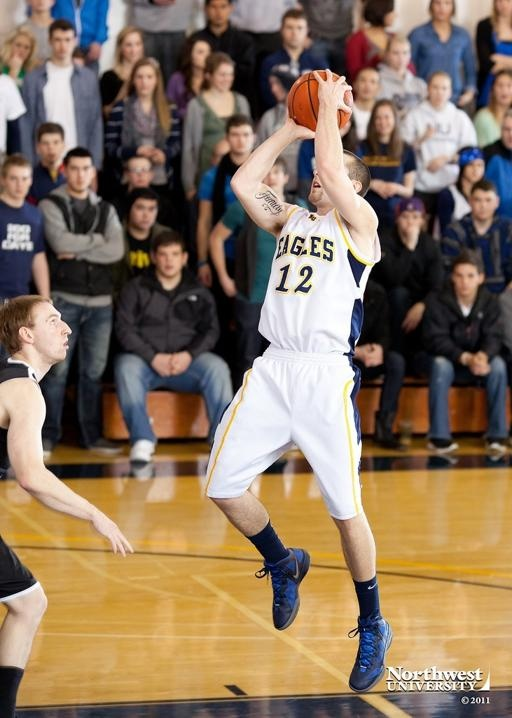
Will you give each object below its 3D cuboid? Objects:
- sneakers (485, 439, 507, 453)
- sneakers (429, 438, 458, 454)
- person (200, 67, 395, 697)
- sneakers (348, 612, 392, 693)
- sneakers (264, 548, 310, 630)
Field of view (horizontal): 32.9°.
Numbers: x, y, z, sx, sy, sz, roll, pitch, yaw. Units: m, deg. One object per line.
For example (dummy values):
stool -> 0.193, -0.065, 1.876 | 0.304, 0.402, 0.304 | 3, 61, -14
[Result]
sneakers -> 1.426, 0.524, 5.161 | 0.052, 0.068, 0.155 | -4, -25, 44
sneakers -> 1.098, 0.520, 5.160 | 0.074, 0.091, 0.202 | 1, -3, -29
person -> 0.120, 0.051, 2.361 | 0.502, 1.441, 1.072 | 1, 28, -4
sneakers -> 0.299, 0.754, 2.248 | 0.069, 0.099, 0.214 | -9, 26, 24
sneakers -> 0.110, 0.679, 2.572 | 0.128, 0.289, 0.087 | 19, -15, -41
